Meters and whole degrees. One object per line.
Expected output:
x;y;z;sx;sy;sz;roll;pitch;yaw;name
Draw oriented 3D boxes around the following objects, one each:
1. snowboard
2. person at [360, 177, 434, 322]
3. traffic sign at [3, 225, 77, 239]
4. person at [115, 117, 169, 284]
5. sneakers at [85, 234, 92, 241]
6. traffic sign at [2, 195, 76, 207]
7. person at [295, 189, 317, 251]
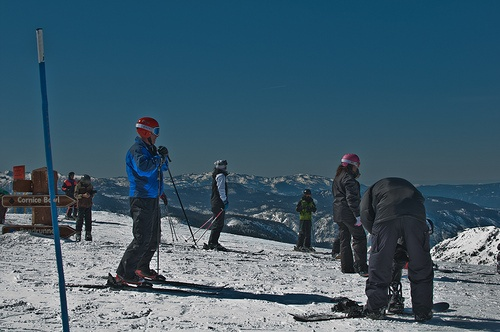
2.548;3.083;13.812;3.247;0.206;0.413;0;-2;-3;snowboard
3.045;1.709;13.685;1.525;2.965;0.638;2;-7;12;person
-6.842;2.123;21.458;2.649;0.433;0.843;0;-8;20;traffic sign
-2.481;0.795;15.002;0.942;3.814;1.210;3;-7;2;person
-5.351;2.392;21.921;0.205;0.185;0.187;1;3;4;sneakers
-6.891;1.121;21.185;2.820;0.415;0.743;-1;-8;27;traffic sign
2.099;2.043;24.727;0.749;2.369;1.478;3;-7;4;person
